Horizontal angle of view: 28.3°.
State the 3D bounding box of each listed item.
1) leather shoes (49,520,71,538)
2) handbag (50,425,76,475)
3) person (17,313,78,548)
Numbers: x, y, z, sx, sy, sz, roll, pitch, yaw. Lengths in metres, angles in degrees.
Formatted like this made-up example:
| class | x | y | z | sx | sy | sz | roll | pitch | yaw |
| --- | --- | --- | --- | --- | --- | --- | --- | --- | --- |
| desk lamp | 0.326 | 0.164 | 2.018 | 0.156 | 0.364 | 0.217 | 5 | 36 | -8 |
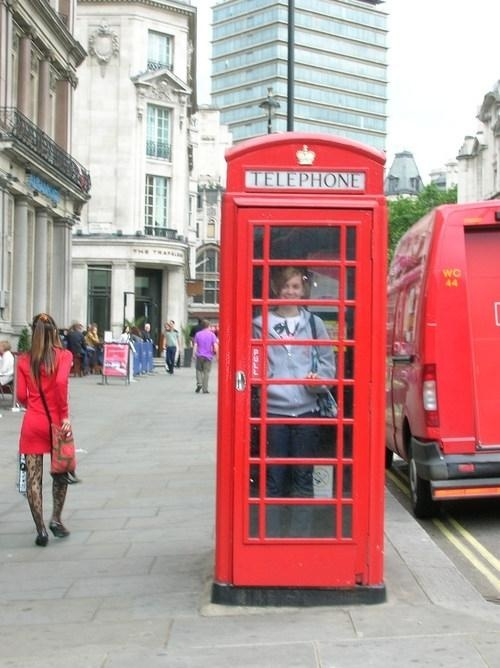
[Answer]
| class | x | y | z | sx | sy | sz | roll | pitch | yaw |
| --- | --- | --- | --- | --- | --- | --- | --- | --- | --- |
| leather shoes | -1.355 | 1.390 | 7.118 | 0.188 | 0.159 | 0.069 | 6 | 11 | -33 |
| handbag | -1.308 | 0.817 | 6.951 | 0.202 | 0.335 | 0.162 | -1 | 0 | -31 |
| person | -1.447 | 0.663 | 6.993 | 0.397 | 1.536 | 0.374 | -1 | 0 | -15 |
